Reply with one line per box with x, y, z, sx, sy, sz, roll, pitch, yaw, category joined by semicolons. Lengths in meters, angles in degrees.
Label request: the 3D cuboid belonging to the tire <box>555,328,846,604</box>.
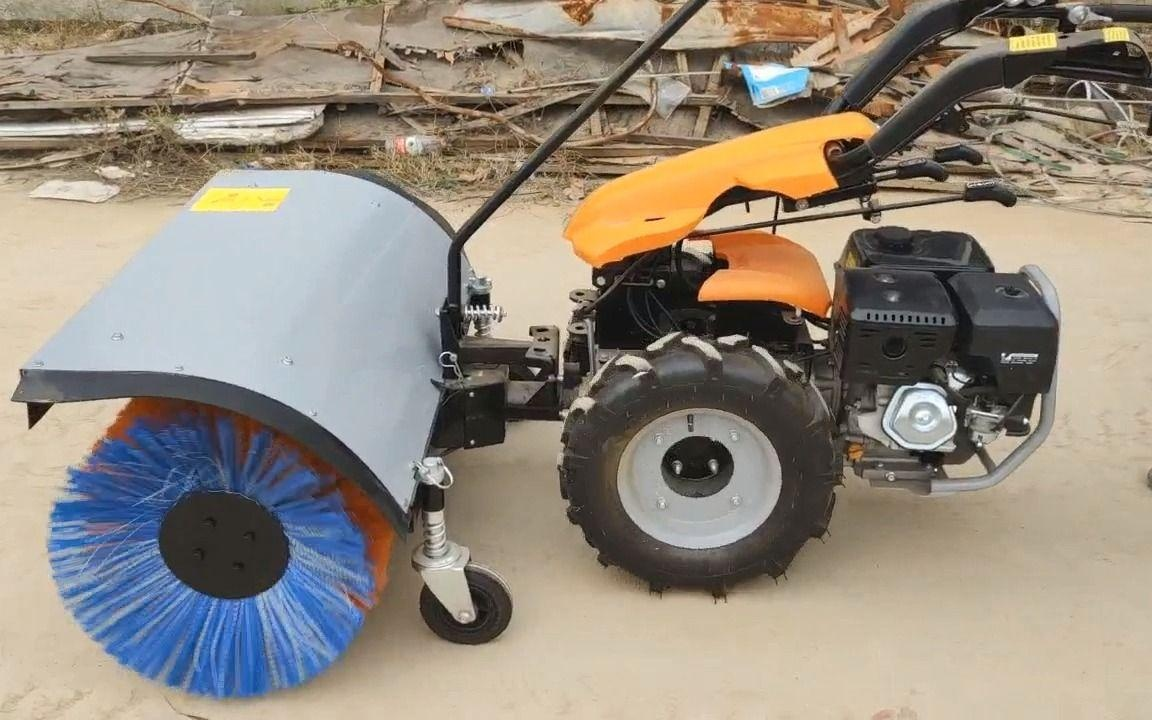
0.609;0.541;4.824;1.407;1.226;0.383;-2;13;1;tire

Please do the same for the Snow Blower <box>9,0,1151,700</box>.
-0.129;0.199;5.288;5.398;2.607;3.015;-1;26;3;Snow Blower
